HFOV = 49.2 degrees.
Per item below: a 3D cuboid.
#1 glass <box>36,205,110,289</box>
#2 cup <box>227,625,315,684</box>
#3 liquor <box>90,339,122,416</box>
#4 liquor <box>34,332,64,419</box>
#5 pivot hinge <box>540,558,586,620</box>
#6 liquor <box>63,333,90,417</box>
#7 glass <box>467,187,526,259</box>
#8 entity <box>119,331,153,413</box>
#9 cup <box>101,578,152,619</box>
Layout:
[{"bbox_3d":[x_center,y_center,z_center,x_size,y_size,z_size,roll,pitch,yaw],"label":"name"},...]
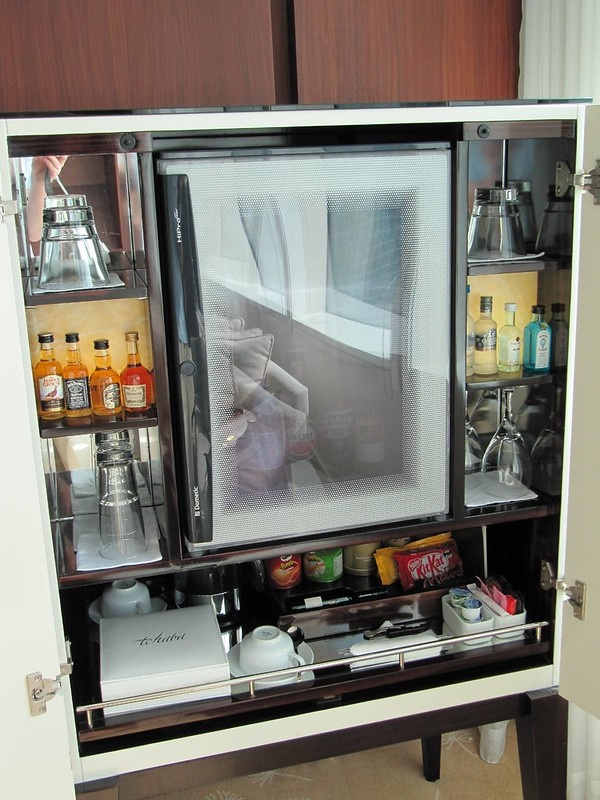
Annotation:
[{"bbox_3d":[-0.327,-0.223,0.930,0.103,0.118,0.107,-10,24,-26],"label":"glass"},{"bbox_3d":[-0.051,0.432,1.112,0.125,0.050,0.076,7,19,21],"label":"cup"},{"bbox_3d":[-0.289,-0.024,0.957,0.046,0.093,0.076,-11,13,-16],"label":"liquor"},{"bbox_3d":[-0.371,-0.037,0.955,0.042,0.117,0.127,-11,14,-19],"label":"liquor"},{"bbox_3d":[0.454,0.326,1.134,0.023,0.070,0.119,-7,23,-17],"label":"pivot hinge"},{"bbox_3d":[-0.332,-0.037,0.954,0.039,0.118,0.104,-11,14,-18],"label":"liquor"},{"bbox_3d":[0.349,-0.318,1.171,0.106,0.116,0.097,-21,27,-37],"label":"glass"},{"bbox_3d":[-0.247,-0.041,0.971,0.050,0.107,0.131,-10,13,-14],"label":"entity"},{"bbox_3d":[-0.320,0.370,1.203,0.062,0.053,0.103,-2,20,-12],"label":"cup"}]
